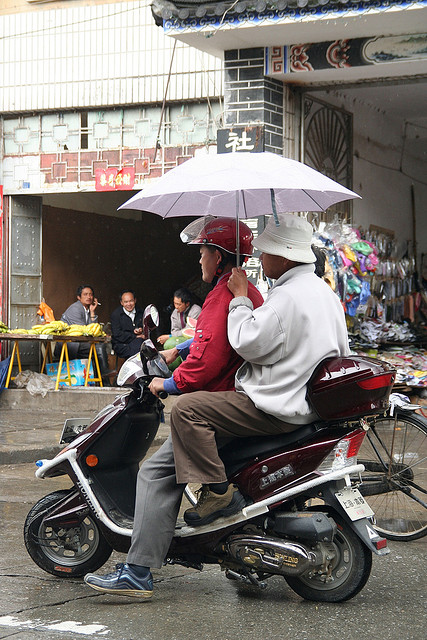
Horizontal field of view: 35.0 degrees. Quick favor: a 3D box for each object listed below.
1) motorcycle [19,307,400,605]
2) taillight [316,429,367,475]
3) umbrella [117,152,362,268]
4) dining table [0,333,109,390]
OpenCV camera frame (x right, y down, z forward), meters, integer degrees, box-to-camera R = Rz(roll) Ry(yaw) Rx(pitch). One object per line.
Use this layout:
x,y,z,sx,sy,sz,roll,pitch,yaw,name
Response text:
-0.048,0.538,2.853,1.600,1.062,0.690,-2,-8,16,motorcycle
0.488,0.491,2.544,0.077,0.156,0.238,-6,-9,43,taillight
0.088,-0.586,3.047,0.884,0.449,0.846,-1,5,12,umbrella
-2.449,0.509,10.287,1.159,0.654,1.156,2,-2,37,dining table
